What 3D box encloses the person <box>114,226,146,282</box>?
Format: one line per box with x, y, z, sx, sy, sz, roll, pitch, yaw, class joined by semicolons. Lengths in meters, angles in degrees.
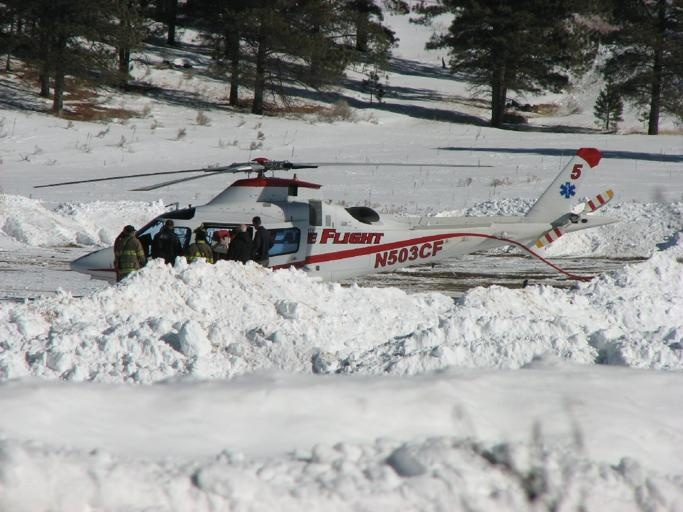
-8.078;0.073;44.928;1.180;2.207;0.627;4;7;6;person
